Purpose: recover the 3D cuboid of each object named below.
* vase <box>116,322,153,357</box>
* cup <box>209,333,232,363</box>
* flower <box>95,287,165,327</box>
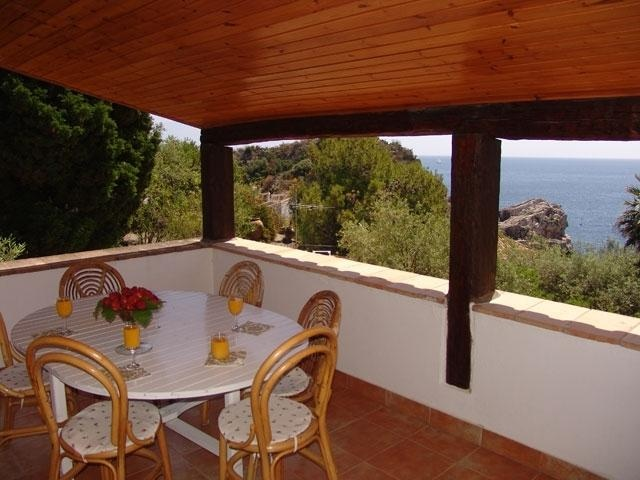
[{"bbox_3d":[-0.995,0.517,2.273,0.188,0.132,0.193,5,9,28],"label":"vase"},{"bbox_3d":[-0.544,0.568,2.278,0.097,0.135,0.131,0,1,-19],"label":"cup"},{"bbox_3d":[-1.079,0.348,2.384,0.281,0.127,0.274,4,8,42],"label":"flower"}]
